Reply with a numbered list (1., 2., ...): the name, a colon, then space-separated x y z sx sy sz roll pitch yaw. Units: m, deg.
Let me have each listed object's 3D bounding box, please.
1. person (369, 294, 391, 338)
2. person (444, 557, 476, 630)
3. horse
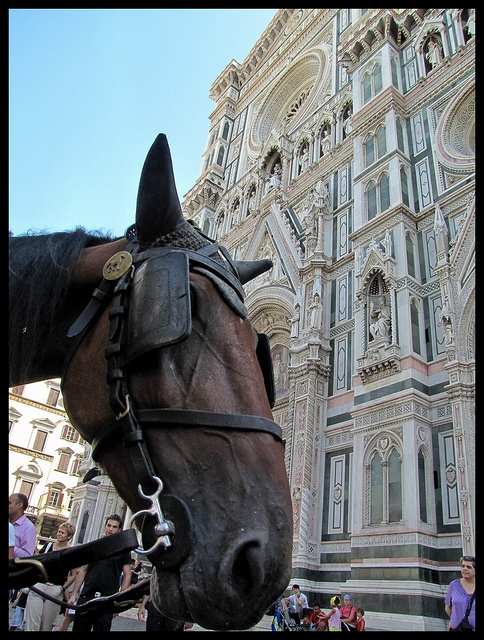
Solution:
1. person: 2.938 -0.037 10.896 0.405 1.182 0.683 0 -23 8
2. person: 1.832 2.263 4.257 0.248 0.578 0.878 -5 -24 19
3. horse: -0.317 0.139 1.643 0.974 1.392 0.516 0 -23 8
